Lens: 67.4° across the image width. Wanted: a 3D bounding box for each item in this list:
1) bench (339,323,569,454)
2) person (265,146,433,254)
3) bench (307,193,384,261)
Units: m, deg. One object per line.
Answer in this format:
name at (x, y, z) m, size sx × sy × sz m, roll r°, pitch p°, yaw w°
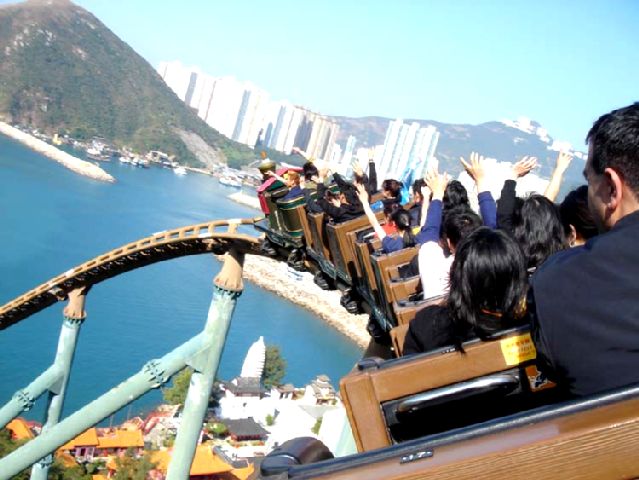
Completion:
bench at (0.344, 0.429, 1.442) m, size 0.739 × 0.275 × 0.374 m, roll -12°, pitch -20°, yaw -15°
person at (0.365, -0.397, 5.252) m, size 0.795 × 0.861 × 2.724 m, roll -23°, pitch 24°, yaw -20°
bench at (0.301, -0.175, 5.441) m, size 0.784 × 0.476 × 0.517 m, roll -25°, pitch 32°, yaw -19°
